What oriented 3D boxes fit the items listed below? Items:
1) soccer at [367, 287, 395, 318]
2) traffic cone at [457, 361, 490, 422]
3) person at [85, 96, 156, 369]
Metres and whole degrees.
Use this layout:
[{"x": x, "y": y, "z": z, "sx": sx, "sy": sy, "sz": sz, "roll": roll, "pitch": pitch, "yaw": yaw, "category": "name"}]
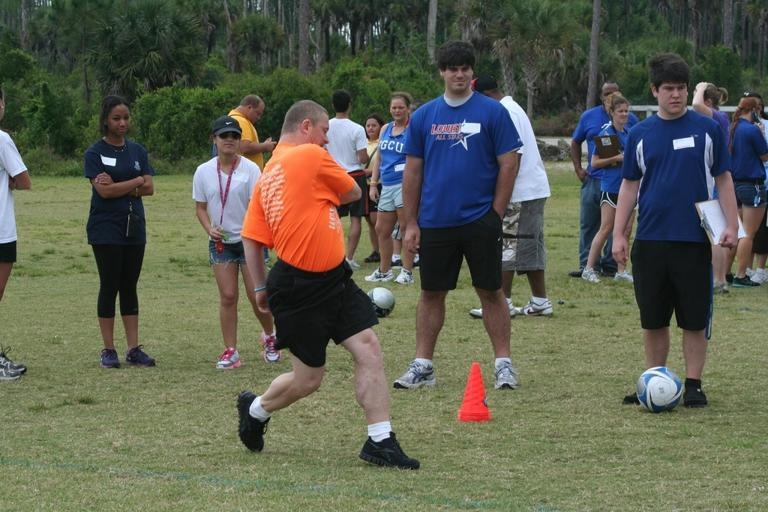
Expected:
[{"x": -0.034, "y": 0.637, "z": 17.095, "sx": 0.405, "sy": 0.393, "sz": 0.399, "roll": 17, "pitch": 16, "yaw": 20, "category": "soccer"}, {"x": 1.011, "y": 1.556, "z": 13.859, "sx": 0.501, "sy": 0.618, "sz": 0.438, "roll": 1, "pitch": 0, "yaw": -4, "category": "traffic cone"}, {"x": -3.267, "y": -0.284, "z": 15.223, "sx": 0.819, "sy": 3.354, "sz": 0.574, "roll": -4, "pitch": 7, "yaw": -19, "category": "person"}]
